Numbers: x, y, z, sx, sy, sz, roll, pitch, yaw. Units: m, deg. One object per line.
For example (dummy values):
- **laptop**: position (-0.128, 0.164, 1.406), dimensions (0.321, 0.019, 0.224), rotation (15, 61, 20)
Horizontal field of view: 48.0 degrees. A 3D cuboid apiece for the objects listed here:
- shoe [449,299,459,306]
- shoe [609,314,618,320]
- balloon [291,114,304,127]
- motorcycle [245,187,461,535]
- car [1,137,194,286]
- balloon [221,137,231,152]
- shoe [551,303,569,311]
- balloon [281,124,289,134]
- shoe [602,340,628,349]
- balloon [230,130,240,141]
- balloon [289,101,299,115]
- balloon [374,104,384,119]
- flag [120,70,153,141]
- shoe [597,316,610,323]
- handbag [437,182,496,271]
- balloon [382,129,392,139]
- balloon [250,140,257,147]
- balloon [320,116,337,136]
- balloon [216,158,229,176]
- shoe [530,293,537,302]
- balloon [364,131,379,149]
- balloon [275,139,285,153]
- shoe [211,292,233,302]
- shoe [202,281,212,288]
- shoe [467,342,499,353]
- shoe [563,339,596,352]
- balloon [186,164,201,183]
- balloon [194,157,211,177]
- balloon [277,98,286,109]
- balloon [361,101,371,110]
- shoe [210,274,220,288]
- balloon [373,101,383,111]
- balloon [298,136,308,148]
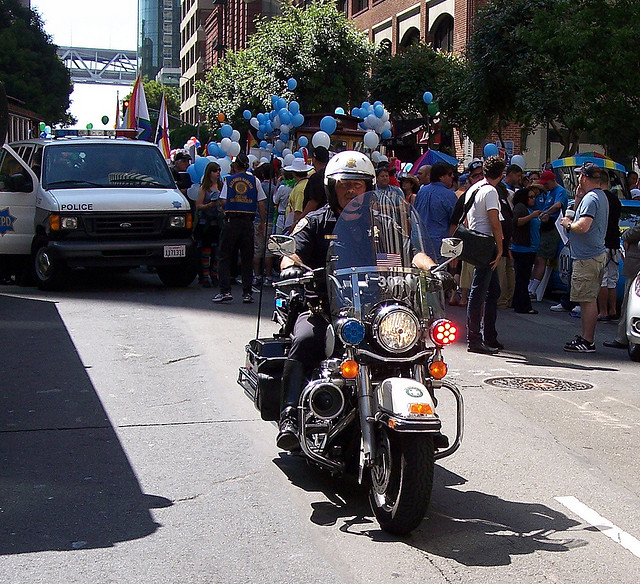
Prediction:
- **shoe**: position (2.189, 0.180, 11.814), dimensions (0.127, 0.095, 0.268), rotation (3, 7, 8)
- **shoe**: position (4.474, 0.394, 10.978), dimensions (0.065, 0.075, 0.221), rotation (8, 9, 41)
- **balloon**: position (-0.689, -5.539, 23.051), dimensions (0.341, 0.366, 0.352), rotation (5, 8, 24)
- **motorcycle**: position (0.155, 0.287, 4.127), dimensions (0.852, 1.325, 2.036), rotation (1, 4, -13)
- **car**: position (-3.701, -1.532, 12.021), dimensions (2.376, 2.233, 3.832), rotation (-1, -1, -24)
- **balloon**: position (-2.542, -4.019, 19.500), dimensions (0.272, 0.347, 0.277), rotation (-2, 3, -17)
- **shoe**: position (3.801, 0.254, 11.599), dimensions (0.205, 0.095, 0.313), rotation (0, 7, -19)
- **balloon**: position (-1.131, -5.249, 23.034), dimensions (0.200, 0.290, 0.198), rotation (-5, 6, -36)
- **shoe**: position (3.657, 0.664, 8.990), dimensions (0.295, 0.136, 0.105), rotation (9, 1, 7)
- **balloon**: position (-2.508, -4.610, 21.157), dimensions (0.276, 0.346, 0.293), rotation (3, 9, 11)
- **balloon**: position (-0.847, -5.947, 23.156), dimensions (0.269, 0.452, 0.810), rotation (1, 7, -3)
- **balloon**: position (1.841, -5.690, 22.560), dimensions (0.318, 0.417, 0.316), rotation (-1, 10, -6)
- **flag**: position (-4.947, -4.958, 19.435), dimensions (0.905, 2.487, 0.175), rotation (15, 48, -6)
- **shoe**: position (4.267, 0.424, 10.837), dimensions (0.211, 0.084, 0.130), rotation (1, 7, -4)
- **handbag**: position (1.321, -0.559, 6.073), dimensions (0.391, 0.649, 0.278), rotation (10, -4, 5)
- **balloon**: position (2.072, -5.005, 22.688), dimensions (0.240, 0.306, 0.252), rotation (18, 46, 18)
- **balloon**: position (-2.151, -4.765, 23.058), dimensions (0.154, 0.239, 0.425), rotation (2, 7, 2)
- **balloon**: position (0.217, -4.687, 20.294), dimensions (0.487, 0.596, 0.486), rotation (-18, 26, -25)
- **balloon**: position (-2.018, -2.634, 15.103), dimensions (0.225, 0.367, 1.019), rotation (1, 7, -8)
- **shoe**: position (3.730, 0.101, 12.611), dimensions (0.090, 0.137, 0.133), rotation (0, -25, 4)
- **balloon**: position (1.472, -4.419, 20.737), dimensions (0.388, 0.476, 0.664), rotation (2, 7, 2)
- **balloon**: position (-1.270, -4.783, 23.680), dimensions (0.374, 0.458, 0.336), rotation (-11, 16, -40)
- **shoe**: position (-1.466, 0.088, 10.860), dimensions (0.323, 0.160, 0.121), rotation (2, 11, -5)
- **shoe**: position (-2.013, -0.132, 12.904), dimensions (0.169, 0.097, 0.252), rotation (0, 7, -11)
- **shoe**: position (1.848, 0.654, 8.295), dimensions (0.378, 0.162, 0.131), rotation (0, 2, -6)
- **shoe**: position (3.066, 0.653, 8.545), dimensions (0.377, 0.174, 0.133), rotation (5, 3, 2)
- **balloon**: position (-2.629, -2.481, 15.059), dimensions (0.321, 0.401, 0.334), rotation (0, 0, -3)
- **balloon**: position (-2.457, -2.597, 14.962), dimensions (0.307, 0.375, 0.315), rotation (1, 7, -6)
- **balloon**: position (-1.208, -6.102, 23.131), dimensions (0.268, 0.335, 0.282), rotation (3, -10, 13)
- **balloon**: position (1.502, -6.180, 23.686), dimensions (0.272, 0.281, 0.305), rotation (28, -10, -39)
- **shoe**: position (-1.901, -0.195, 12.973), dimensions (0.134, 0.208, 0.373), rotation (0, 7, -14)
- **balloon**: position (1.864, -5.871, 22.647), dimensions (0.279, 0.348, 0.289), rotation (5, 13, -8)
- **balloon**: position (-0.546, -4.863, 23.293), dimensions (0.325, 0.351, 0.188), rotation (-4, 25, -6)
